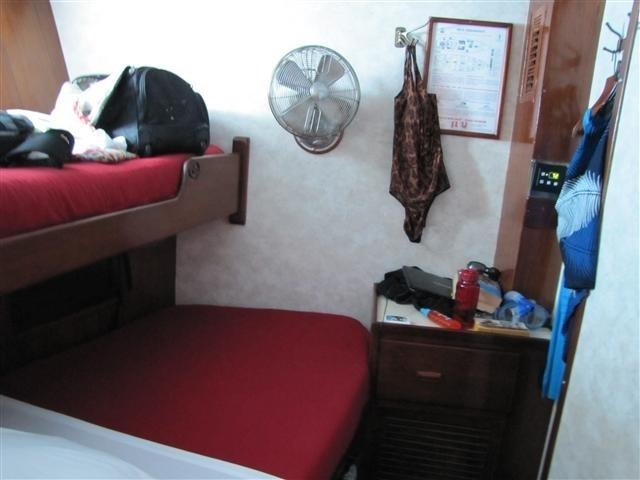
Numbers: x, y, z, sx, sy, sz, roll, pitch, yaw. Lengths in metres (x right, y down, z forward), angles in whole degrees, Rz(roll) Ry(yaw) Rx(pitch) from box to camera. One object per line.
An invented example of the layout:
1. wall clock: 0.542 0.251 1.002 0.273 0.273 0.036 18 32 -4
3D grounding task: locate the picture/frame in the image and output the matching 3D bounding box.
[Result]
1. picture/frame: 0.810 -0.903 2.649 0.578 0.818 0.032 4 13 7

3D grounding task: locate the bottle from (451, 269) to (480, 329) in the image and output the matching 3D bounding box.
1. bottle: 0.720 0.260 2.375 0.116 0.253 0.226 8 22 17

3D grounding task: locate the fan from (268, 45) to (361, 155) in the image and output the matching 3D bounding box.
1. fan: -0.058 -0.780 2.649 0.467 0.598 0.359 -13 38 -12

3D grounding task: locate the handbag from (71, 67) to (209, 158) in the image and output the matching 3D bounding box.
1. handbag: -0.801 -0.645 2.486 0.434 0.341 0.363 -22 65 -30

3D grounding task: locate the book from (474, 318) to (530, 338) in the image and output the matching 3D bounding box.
1. book: 0.862 0.408 2.334 0.261 0.031 0.124 6 22 9

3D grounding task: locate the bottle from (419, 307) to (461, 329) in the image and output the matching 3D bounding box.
1. bottle: 0.588 0.360 2.372 0.062 0.051 0.202 -21 28 -31

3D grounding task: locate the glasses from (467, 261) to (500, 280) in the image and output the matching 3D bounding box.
1. glasses: 0.890 0.165 2.629 0.161 0.067 0.092 29 -2 2
